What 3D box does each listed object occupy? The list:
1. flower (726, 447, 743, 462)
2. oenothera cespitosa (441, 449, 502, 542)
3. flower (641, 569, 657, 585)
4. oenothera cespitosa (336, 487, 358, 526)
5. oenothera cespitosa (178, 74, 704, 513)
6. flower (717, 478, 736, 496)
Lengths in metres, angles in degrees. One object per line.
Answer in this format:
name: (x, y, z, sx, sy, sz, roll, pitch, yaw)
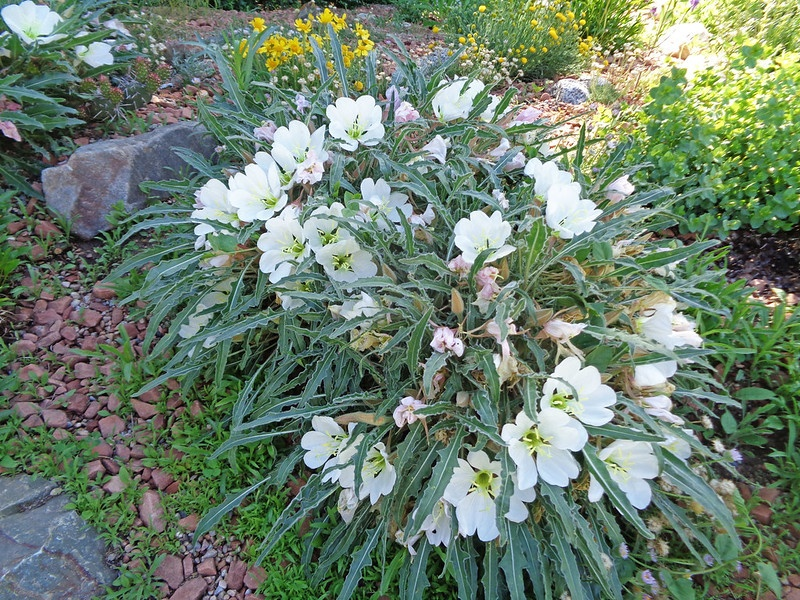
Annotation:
flower: (1.550, 0.720, 2.241, 0.044, 0.110, 0.102, -4, 63, 30)
oenothera cespitosa: (0.273, 0.763, 1.864, 0.213, 0.325, 0.302, 0, 60, -7)
flower: (1.056, 1.181, 2.048, 0.064, 0.026, 0.059, -4, 100, -10)
oenothera cespitosa: (-0.229, 0.883, 2.087, 0.102, 0.039, 0.144, 3, 93, 7)
oenothera cespitosa: (0.249, 0.154, 2.997, 2.452, 1.139, 2.230, 4, 78, 5)
flower: (1.475, 0.849, 2.206, 0.069, 0.043, 0.075, -35, 38, -25)
